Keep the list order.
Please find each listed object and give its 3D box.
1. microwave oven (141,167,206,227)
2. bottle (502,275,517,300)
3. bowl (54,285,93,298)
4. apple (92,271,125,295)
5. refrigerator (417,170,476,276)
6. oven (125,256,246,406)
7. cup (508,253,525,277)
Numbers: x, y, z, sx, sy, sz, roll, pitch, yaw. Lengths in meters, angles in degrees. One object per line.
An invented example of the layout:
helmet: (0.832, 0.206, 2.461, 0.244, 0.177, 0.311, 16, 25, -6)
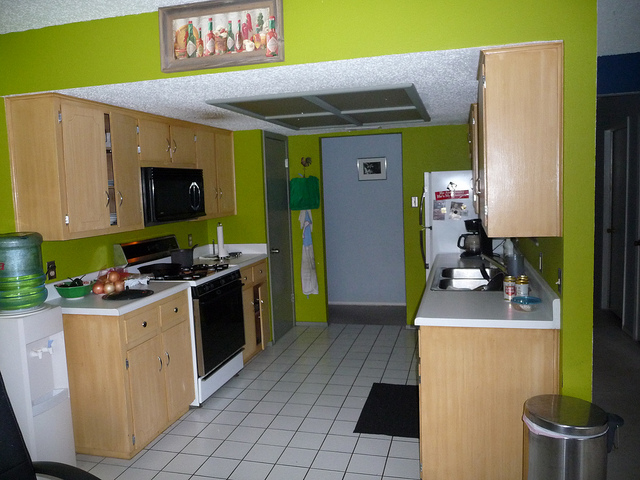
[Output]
microwave oven: (-1.230, -0.404, 4.652, 0.763, 0.468, 0.262, 0, 7, 30)
bottle: (1.271, 0.323, 3.324, 0.074, 0.145, 0.066, 2, 11, 21)
bowl: (-1.844, 0.396, 3.787, 0.233, 0.111, 0.154, -7, 11, -28)
apple: (-1.652, 0.346, 3.950, 0.180, 0.080, 0.192, 1, 19, 14)
refrigerator: (1.403, -0.213, 5.400, 0.515, 1.036, 0.200, 2, 11, 22)
oven: (-1.191, 0.766, 5.083, 1.116, 1.610, 1.179, 0, 4, 11)
cup: (1.350, 0.178, 3.448, 0.125, 0.171, 0.133, 2, 2, 0)
